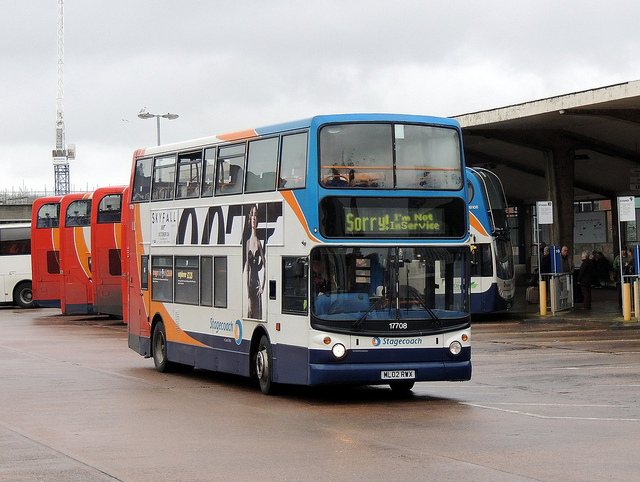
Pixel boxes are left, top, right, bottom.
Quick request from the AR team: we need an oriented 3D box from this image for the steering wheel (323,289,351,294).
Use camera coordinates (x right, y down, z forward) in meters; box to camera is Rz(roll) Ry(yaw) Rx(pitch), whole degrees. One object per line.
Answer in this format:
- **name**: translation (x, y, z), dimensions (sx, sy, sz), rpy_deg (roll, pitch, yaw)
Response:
- **steering wheel**: translation (0.273, 0.823, 14.478), dimensions (0.431, 0.055, 0.053), rpy_deg (-1, 0, -1)

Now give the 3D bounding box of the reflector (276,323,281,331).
- **reflector**: translation (-0.730, 1.477, 15.287), dimensions (0.077, 0.170, 0.160), rpy_deg (0, -2, 3)

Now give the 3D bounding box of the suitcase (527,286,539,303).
- **suitcase**: translation (9.925, 2.463, 41.234), dimensions (0.471, 0.472, 1.413), rpy_deg (-1, 0, 15)

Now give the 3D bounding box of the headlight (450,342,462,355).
- **headlight**: translation (2.298, 1.817, 14.982), dimensions (0.174, 0.199, 0.176), rpy_deg (3, 1, -30)

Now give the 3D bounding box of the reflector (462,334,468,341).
- **reflector**: translation (2.455, 1.641, 15.055), dimensions (0.103, 0.122, 0.026), rpy_deg (1, 0, -1)

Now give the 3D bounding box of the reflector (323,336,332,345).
- **reflector**: translation (0.124, 1.618, 14.437), dimensions (0.131, 0.102, 0.034), rpy_deg (-1, 0, -17)
